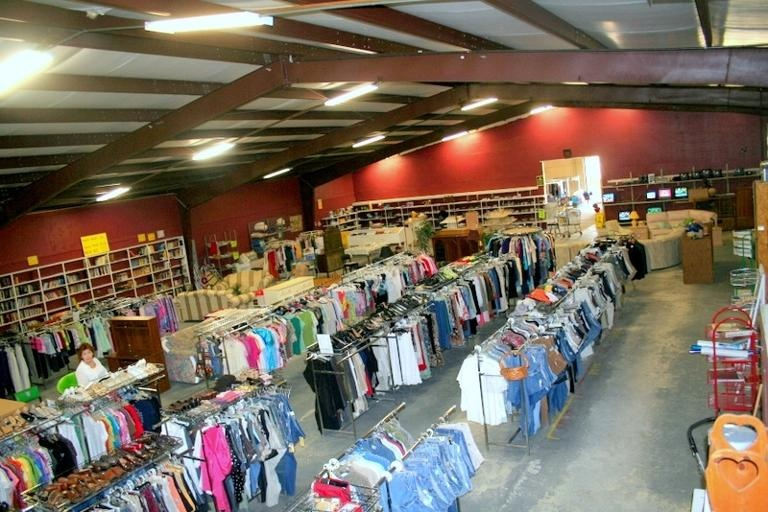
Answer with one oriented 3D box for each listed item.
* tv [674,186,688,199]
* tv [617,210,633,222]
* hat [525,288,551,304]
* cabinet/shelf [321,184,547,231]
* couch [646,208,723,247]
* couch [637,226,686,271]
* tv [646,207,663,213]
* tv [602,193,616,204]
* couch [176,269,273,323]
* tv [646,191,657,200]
[{"bbox_3d":[10.770,-2.280,17.661,0.601,0.497,0.301,-1,-2,35],"label":"tv"},{"bbox_3d":[9.095,-1.489,18.487,0.368,0.496,0.649,1,-1,-38],"label":"tv"},{"bbox_3d":[2.738,0.707,8.575,0.364,0.157,0.550,-5,7,17],"label":"hat"},{"bbox_3d":[2.424,-1.969,22.502,9.579,1.751,1.509,-4,9,24],"label":"cabinet/shelf"},{"bbox_3d":[9.982,-0.997,15.876,1.927,0.772,2.347,-14,13,-17],"label":"couch"},{"bbox_3d":[8.437,-0.161,14.618,2.237,0.922,1.210,-10,14,-34],"label":"couch"},{"bbox_3d":[10.138,-1.720,18.199,0.362,0.212,0.182,-3,-2,26],"label":"tv"},{"bbox_3d":[8.722,-2.230,18.985,0.662,0.487,0.354,1,9,16],"label":"tv"},{"bbox_3d":[-5.230,1.303,15.648,3.184,1.381,1.375,-5,8,14],"label":"couch"},{"bbox_3d":[10.052,-2.273,18.269,0.357,0.295,0.183,3,10,19],"label":"tv"}]
